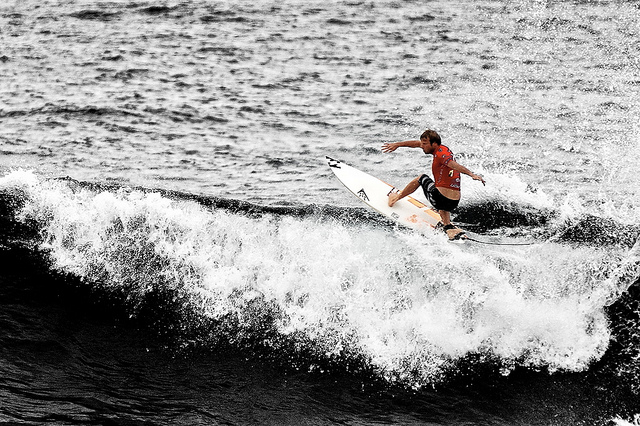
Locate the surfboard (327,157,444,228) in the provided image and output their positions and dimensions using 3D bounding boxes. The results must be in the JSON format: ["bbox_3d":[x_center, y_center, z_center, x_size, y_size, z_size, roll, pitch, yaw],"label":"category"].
[{"bbox_3d":[1.851,-0.450,34.801,5.049,1.111,0.672,29,-17,34],"label":"surfboard"}]
